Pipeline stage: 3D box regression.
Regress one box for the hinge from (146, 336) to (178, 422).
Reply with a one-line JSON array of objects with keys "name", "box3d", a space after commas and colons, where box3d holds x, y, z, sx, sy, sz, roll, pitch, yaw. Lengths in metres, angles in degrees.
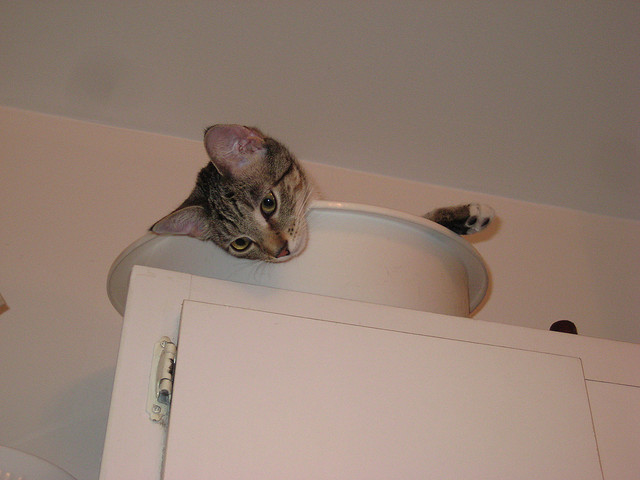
[{"name": "hinge", "box3d": [-0.210, 0.184, 0.843, 0.036, 0.115, 0.027, 2, -26, 1]}]
